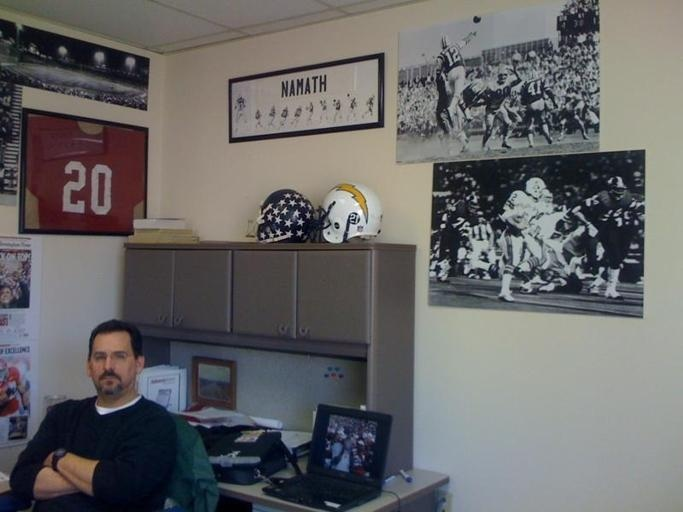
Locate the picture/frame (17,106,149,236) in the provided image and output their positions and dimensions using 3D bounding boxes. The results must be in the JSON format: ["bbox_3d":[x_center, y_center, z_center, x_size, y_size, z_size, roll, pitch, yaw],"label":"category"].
[{"bbox_3d":[-1.849,-0.584,3.759,0.905,0.894,0.066,2,0,-40],"label":"picture/frame"}]

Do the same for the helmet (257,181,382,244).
[{"bbox_3d":[-0.141,-0.200,3.102,0.564,0.297,0.377,3,-3,25],"label":"helmet"}]

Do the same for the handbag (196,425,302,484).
[{"bbox_3d":[-0.506,1.010,2.933,0.340,0.145,0.388,0,-2,28],"label":"handbag"}]
